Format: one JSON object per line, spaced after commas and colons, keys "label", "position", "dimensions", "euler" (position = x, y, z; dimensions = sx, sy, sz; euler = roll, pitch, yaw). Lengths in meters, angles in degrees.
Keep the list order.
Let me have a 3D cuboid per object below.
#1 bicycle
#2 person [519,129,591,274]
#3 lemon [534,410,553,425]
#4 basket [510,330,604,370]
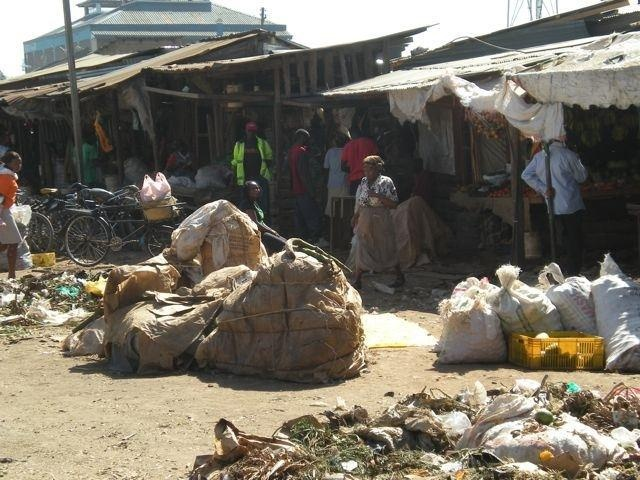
{"label": "bicycle", "position": [-3.608, -0.274, 13.663], "dimensions": [2.872, 1.266, 1.185], "euler": [7, 16, 35]}
{"label": "person", "position": [3.159, -0.480, 11.170], "dimensions": [0.730, 1.806, 1.250], "euler": [2, 14, 17]}
{"label": "lemon", "position": [1.772, 1.404, 6.612], "dimensions": [0.095, 0.095, 0.121], "euler": [-1, 0, -2]}
{"label": "basket", "position": [2.293, 1.073, 8.109], "dimensions": [0.912, 0.344, 0.317], "euler": [1, 13, 12]}
